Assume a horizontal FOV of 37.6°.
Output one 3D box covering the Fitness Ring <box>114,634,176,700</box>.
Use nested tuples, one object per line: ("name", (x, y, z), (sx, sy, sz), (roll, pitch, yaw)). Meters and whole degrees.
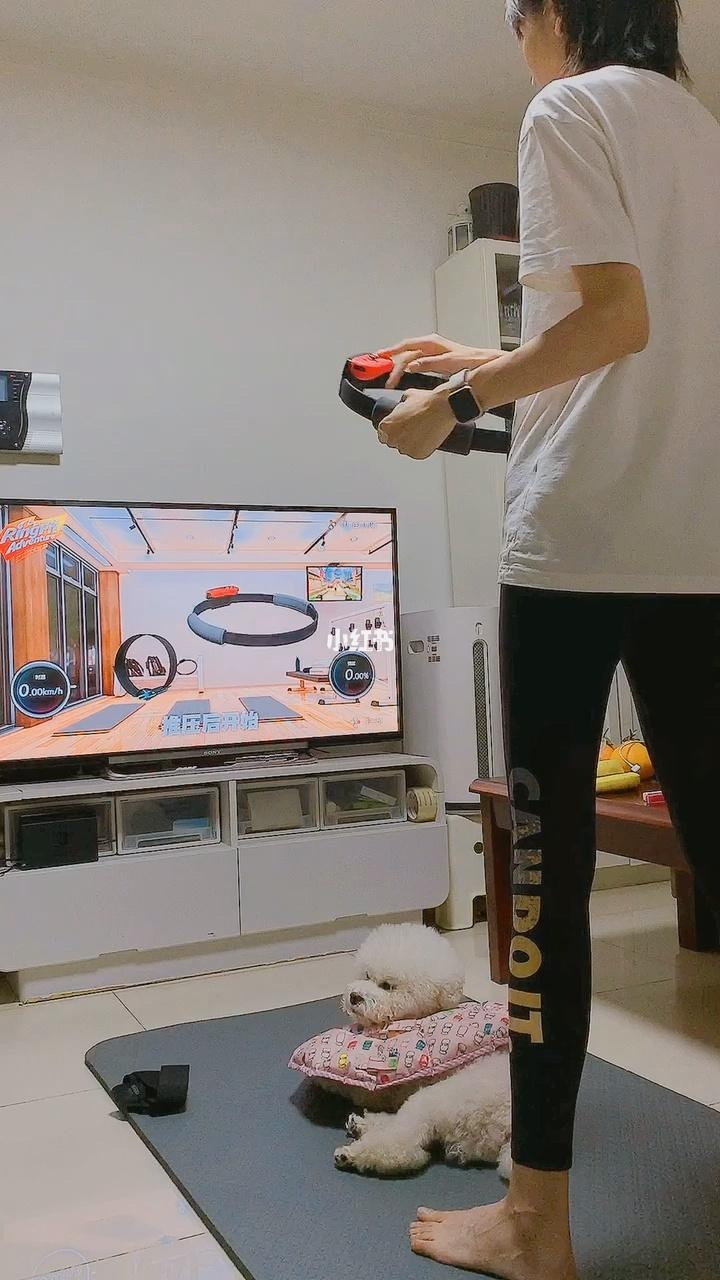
("Fitness Ring", (-0.548, 0.076, 2.695), (0.142, 0.176, 0.169), (1, 1, 3))
